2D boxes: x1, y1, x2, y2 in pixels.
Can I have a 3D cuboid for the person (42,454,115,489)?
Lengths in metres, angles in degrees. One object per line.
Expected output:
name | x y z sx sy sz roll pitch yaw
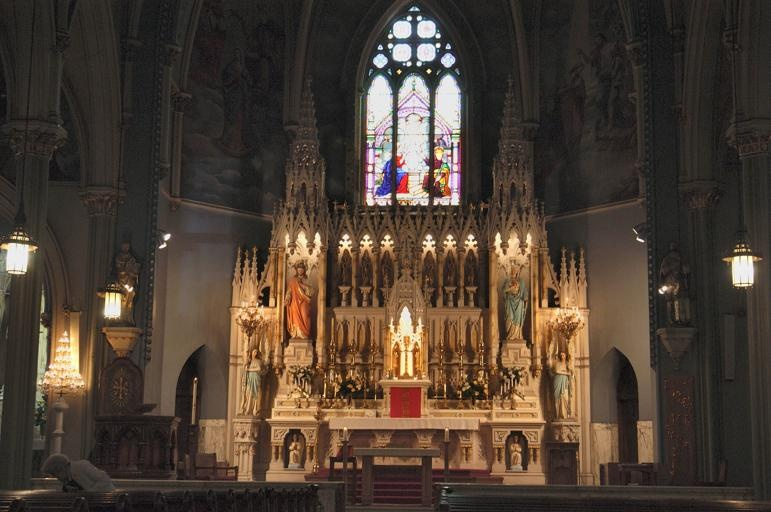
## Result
person | -5.580 4.026 28.412 1.078 0.672 1.201 11 -14 -33

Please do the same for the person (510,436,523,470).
person | 3.271 5.087 39.133 0.305 0.867 0.228 0 -11 4

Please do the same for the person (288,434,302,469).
person | -2.337 5.098 39.648 0.354 0.869 0.150 2 -11 -5

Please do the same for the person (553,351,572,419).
person | 4.508 3.418 39.457 0.384 1.635 0.243 0 -11 8

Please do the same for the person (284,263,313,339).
person | -2.299 1.257 40.370 0.646 2.022 0.409 2 -11 -4

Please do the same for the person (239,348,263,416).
person | -3.444 3.352 39.784 0.491 1.685 0.414 3 -11 -12
